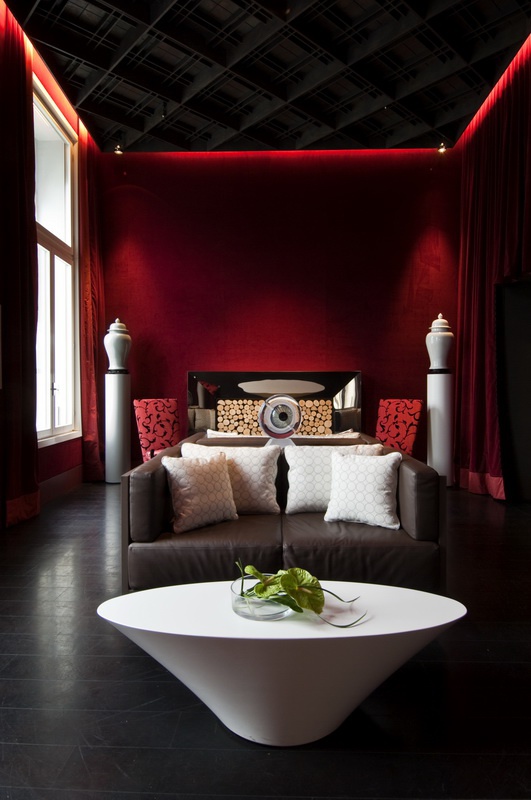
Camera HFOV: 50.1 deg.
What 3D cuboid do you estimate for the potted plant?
[{"bbox_3d":[0.051,0.450,1.450,0.254,0.110,0.173,4,2,14],"label":"potted plant"}]

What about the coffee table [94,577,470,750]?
[{"bbox_3d":[0.042,0.697,1.505,0.933,0.396,0.516,0,0,11],"label":"coffee table"}]
